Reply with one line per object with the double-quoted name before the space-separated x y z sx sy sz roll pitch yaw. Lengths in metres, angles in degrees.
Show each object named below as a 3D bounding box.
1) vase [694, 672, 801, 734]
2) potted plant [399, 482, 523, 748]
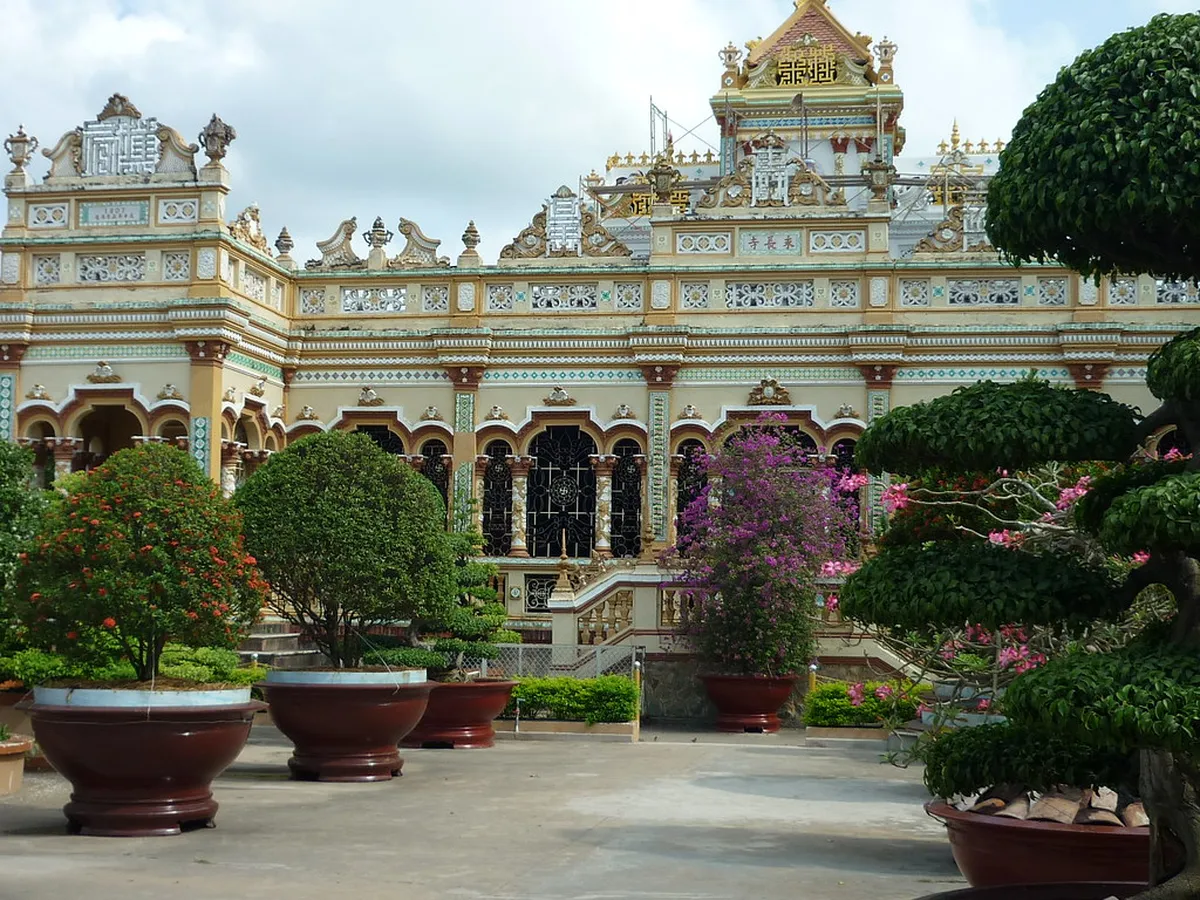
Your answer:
"vase" 1.892 3.175 24.332 0.957 0.427 0.875 1 -18 -1
"potted plant" -1.525 2.137 22.433 1.480 2.408 1.280 8 -6 -27
